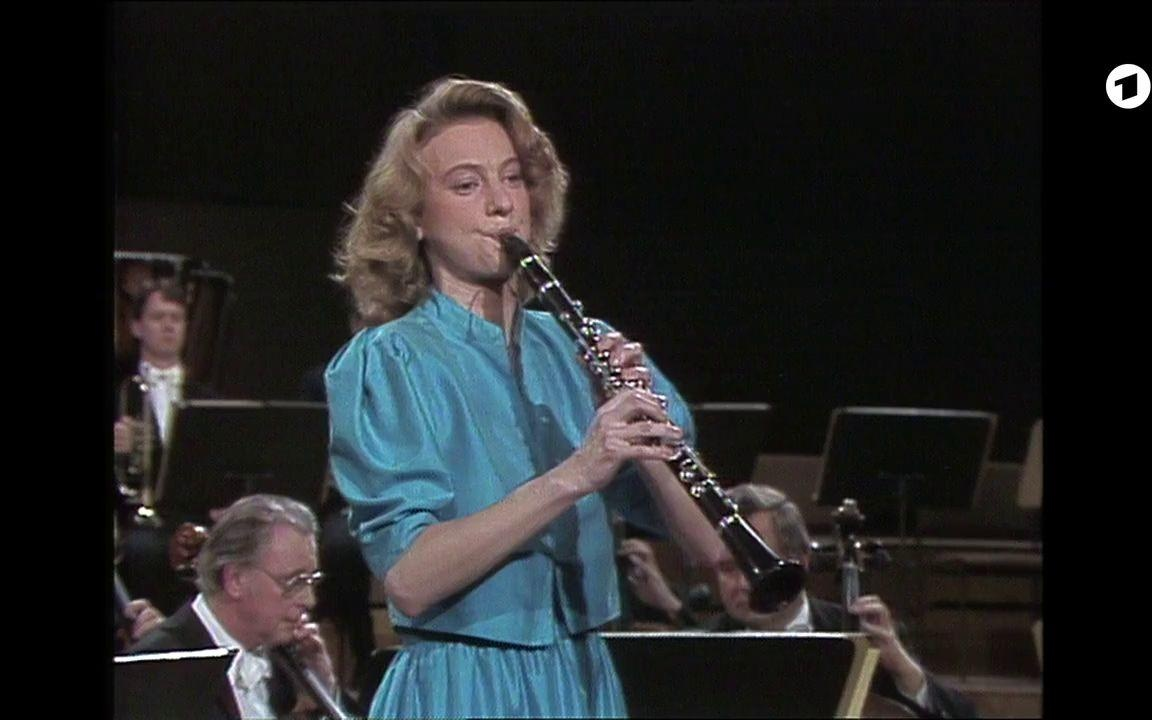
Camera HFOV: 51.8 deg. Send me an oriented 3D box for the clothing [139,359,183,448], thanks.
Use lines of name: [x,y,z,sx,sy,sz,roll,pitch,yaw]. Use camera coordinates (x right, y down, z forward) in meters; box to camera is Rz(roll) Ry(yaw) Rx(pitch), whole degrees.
clothing: [-1.084,0.117,3.096,0.135,0.211,0.058,-3,2,-10]

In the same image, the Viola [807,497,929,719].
Viola: [0.780,0.656,3.244,0.317,0.592,0.258,0,5,-1]

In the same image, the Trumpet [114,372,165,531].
Trumpet: [-1.176,0.226,3.196,0.119,0.483,0.125,-13,-14,42]
